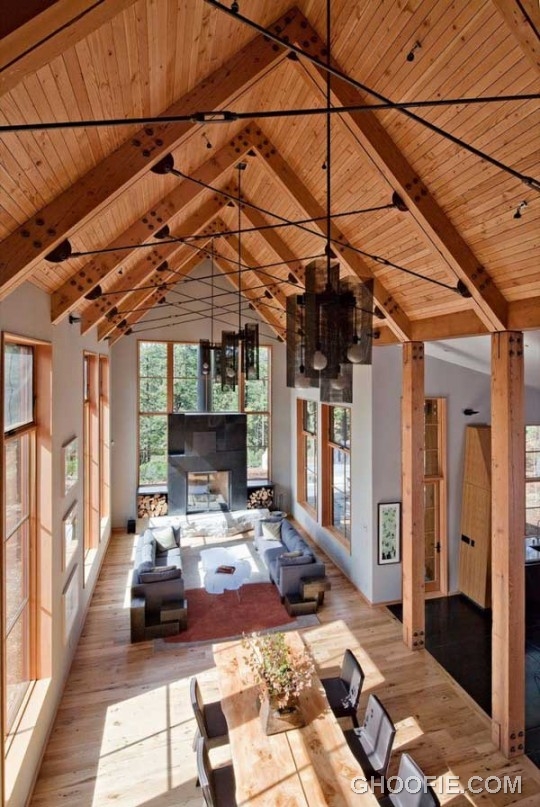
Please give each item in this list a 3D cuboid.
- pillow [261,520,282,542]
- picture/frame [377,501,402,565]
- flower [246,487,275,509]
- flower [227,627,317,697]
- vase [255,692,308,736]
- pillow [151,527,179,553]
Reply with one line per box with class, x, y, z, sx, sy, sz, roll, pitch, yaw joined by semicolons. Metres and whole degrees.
pillow;0.042;2.107;10.133;0.425;0.194;0.493;3;36;2
picture/frame;1.585;1.732;8.004;0.348;0.801;0.188;-1;6;-7
flower;-0.181;1.974;12.508;0.605;0.504;0.103;-3;7;-25
flower;0.049;2.088;4.833;0.436;0.192;0.631;5;-2;-13
vase;0.080;2.305;4.438;0.208;0.162;0.240;0;-5;-14
pillow;-1.617;2.098;9.173;0.275;0.284;0.100;4;-42;-29
